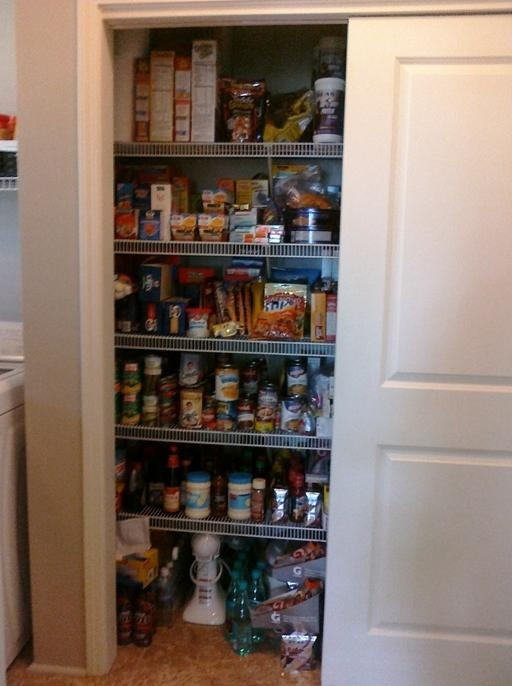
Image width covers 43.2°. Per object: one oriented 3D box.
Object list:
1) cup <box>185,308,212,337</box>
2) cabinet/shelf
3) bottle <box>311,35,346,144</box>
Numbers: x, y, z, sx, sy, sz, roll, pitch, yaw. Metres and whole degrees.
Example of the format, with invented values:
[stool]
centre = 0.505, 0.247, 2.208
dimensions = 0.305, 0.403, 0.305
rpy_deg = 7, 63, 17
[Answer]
[cup]
centre = -0.173, -0.061, 1.957
dimensions = 0.086, 0.094, 0.079
rpy_deg = 0, -3, 0
[cabinet/shelf]
centre = -0.122, -0.060, 2.036
dimensions = 0.766, 1.932, 0.854
rpy_deg = 3, 13, 6
[bottle]
centre = 0.209, -0.725, 1.876
dimensions = 0.089, 0.296, 0.221
rpy_deg = 3, 13, 3
